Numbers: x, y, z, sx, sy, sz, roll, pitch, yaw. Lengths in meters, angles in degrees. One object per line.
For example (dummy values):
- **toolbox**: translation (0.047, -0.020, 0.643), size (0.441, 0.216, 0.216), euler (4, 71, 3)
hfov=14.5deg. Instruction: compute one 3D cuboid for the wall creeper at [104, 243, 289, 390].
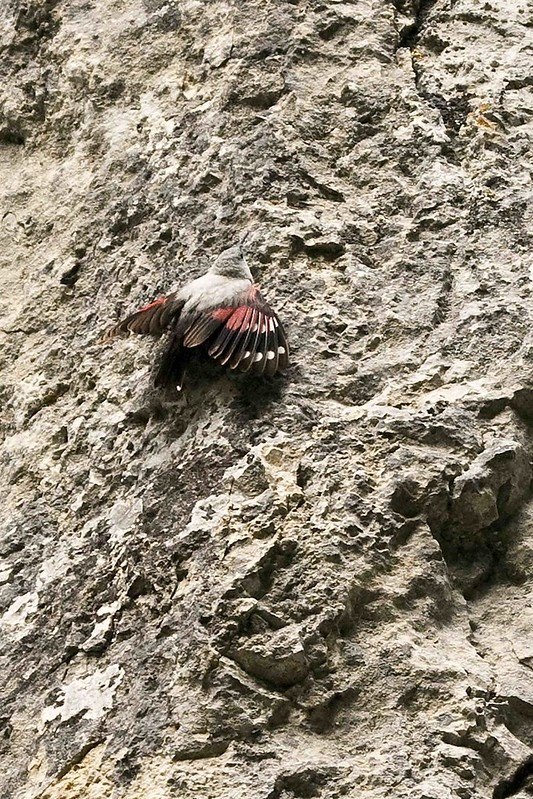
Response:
- **wall creeper**: translation (-0.200, -0.291, 7.376), size (0.539, 0.370, 0.693), euler (-19, 14, -26)
